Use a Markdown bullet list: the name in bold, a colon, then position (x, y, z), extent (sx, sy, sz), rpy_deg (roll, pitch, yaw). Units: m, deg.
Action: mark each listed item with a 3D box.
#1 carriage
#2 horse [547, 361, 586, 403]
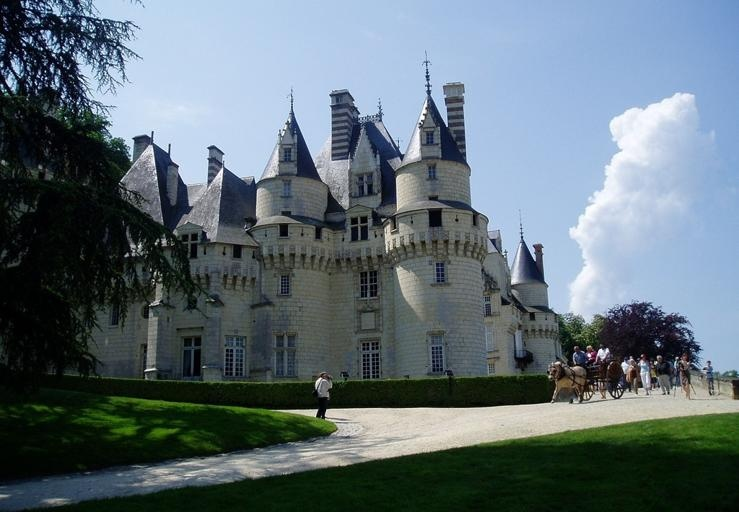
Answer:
- **carriage**: position (8.607, 4.768, 31.280), extent (1.984, 1.588, 3.949), rpy_deg (-15, -24, 39)
- **horse**: position (7.754, 4.833, 30.544), extent (2.503, 1.539, 0.705), rpy_deg (8, -9, -37)
